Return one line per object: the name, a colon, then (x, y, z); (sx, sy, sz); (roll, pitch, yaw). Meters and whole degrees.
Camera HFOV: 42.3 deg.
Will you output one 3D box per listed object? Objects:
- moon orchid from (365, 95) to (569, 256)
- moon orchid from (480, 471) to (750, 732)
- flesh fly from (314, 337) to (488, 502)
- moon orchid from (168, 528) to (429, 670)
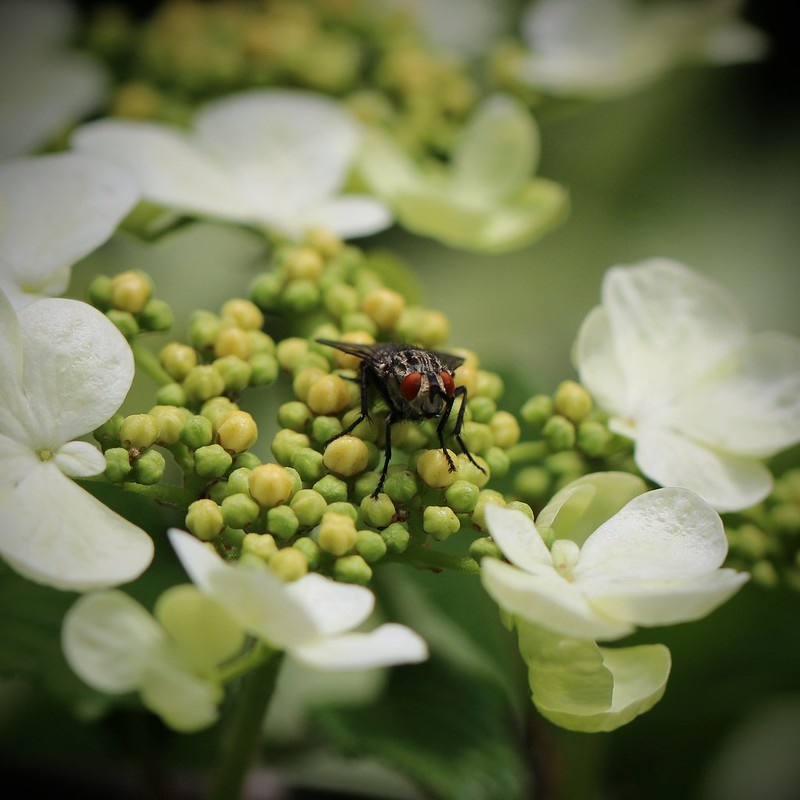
moon orchid: (0.066, -0.252, 1.144); (0.228, 0.103, 0.177); (0, 44, -3)
moon orchid: (0.177, 0.162, 0.886); (0.177, 0.199, 0.215); (36, 53, 27)
flesh fly: (0.012, -0.018, 1.057); (0.171, 0.080, 0.200); (-4, 30, -14)
moon orchid: (-0.072, 0.133, 0.800); (0.149, 0.138, 0.039); (22, 80, 32)
